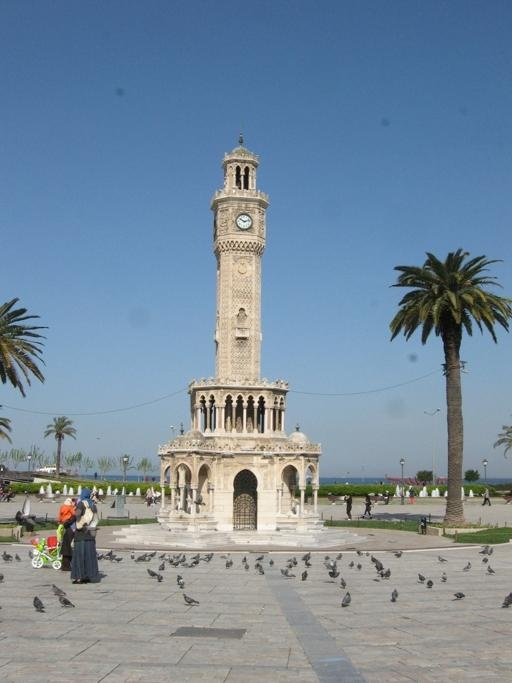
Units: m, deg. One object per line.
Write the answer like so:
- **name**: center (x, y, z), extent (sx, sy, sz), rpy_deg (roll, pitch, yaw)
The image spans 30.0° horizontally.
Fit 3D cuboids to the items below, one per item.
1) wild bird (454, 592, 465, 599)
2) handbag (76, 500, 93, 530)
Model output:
- **wild bird**: center (4.824, 6.031, 22.692), extent (0.202, 0.090, 0.282), rpy_deg (-1, -8, -4)
- **handbag**: center (-4.355, 4.418, 24.153), extent (0.351, 0.665, 0.525), rpy_deg (-13, -28, 33)
